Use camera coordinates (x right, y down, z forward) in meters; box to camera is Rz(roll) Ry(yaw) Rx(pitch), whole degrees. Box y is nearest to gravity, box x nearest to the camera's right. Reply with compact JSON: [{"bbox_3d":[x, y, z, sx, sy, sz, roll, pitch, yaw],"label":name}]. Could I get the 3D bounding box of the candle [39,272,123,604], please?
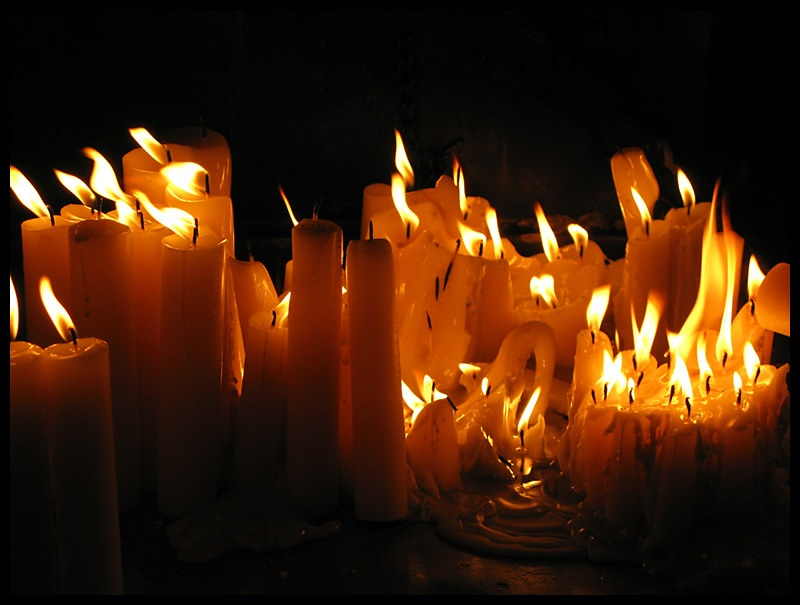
[{"bbox_3d":[-0.441,0.180,1.075,0.082,0.425,0.131,-3,0,-24],"label":"candle"}]
